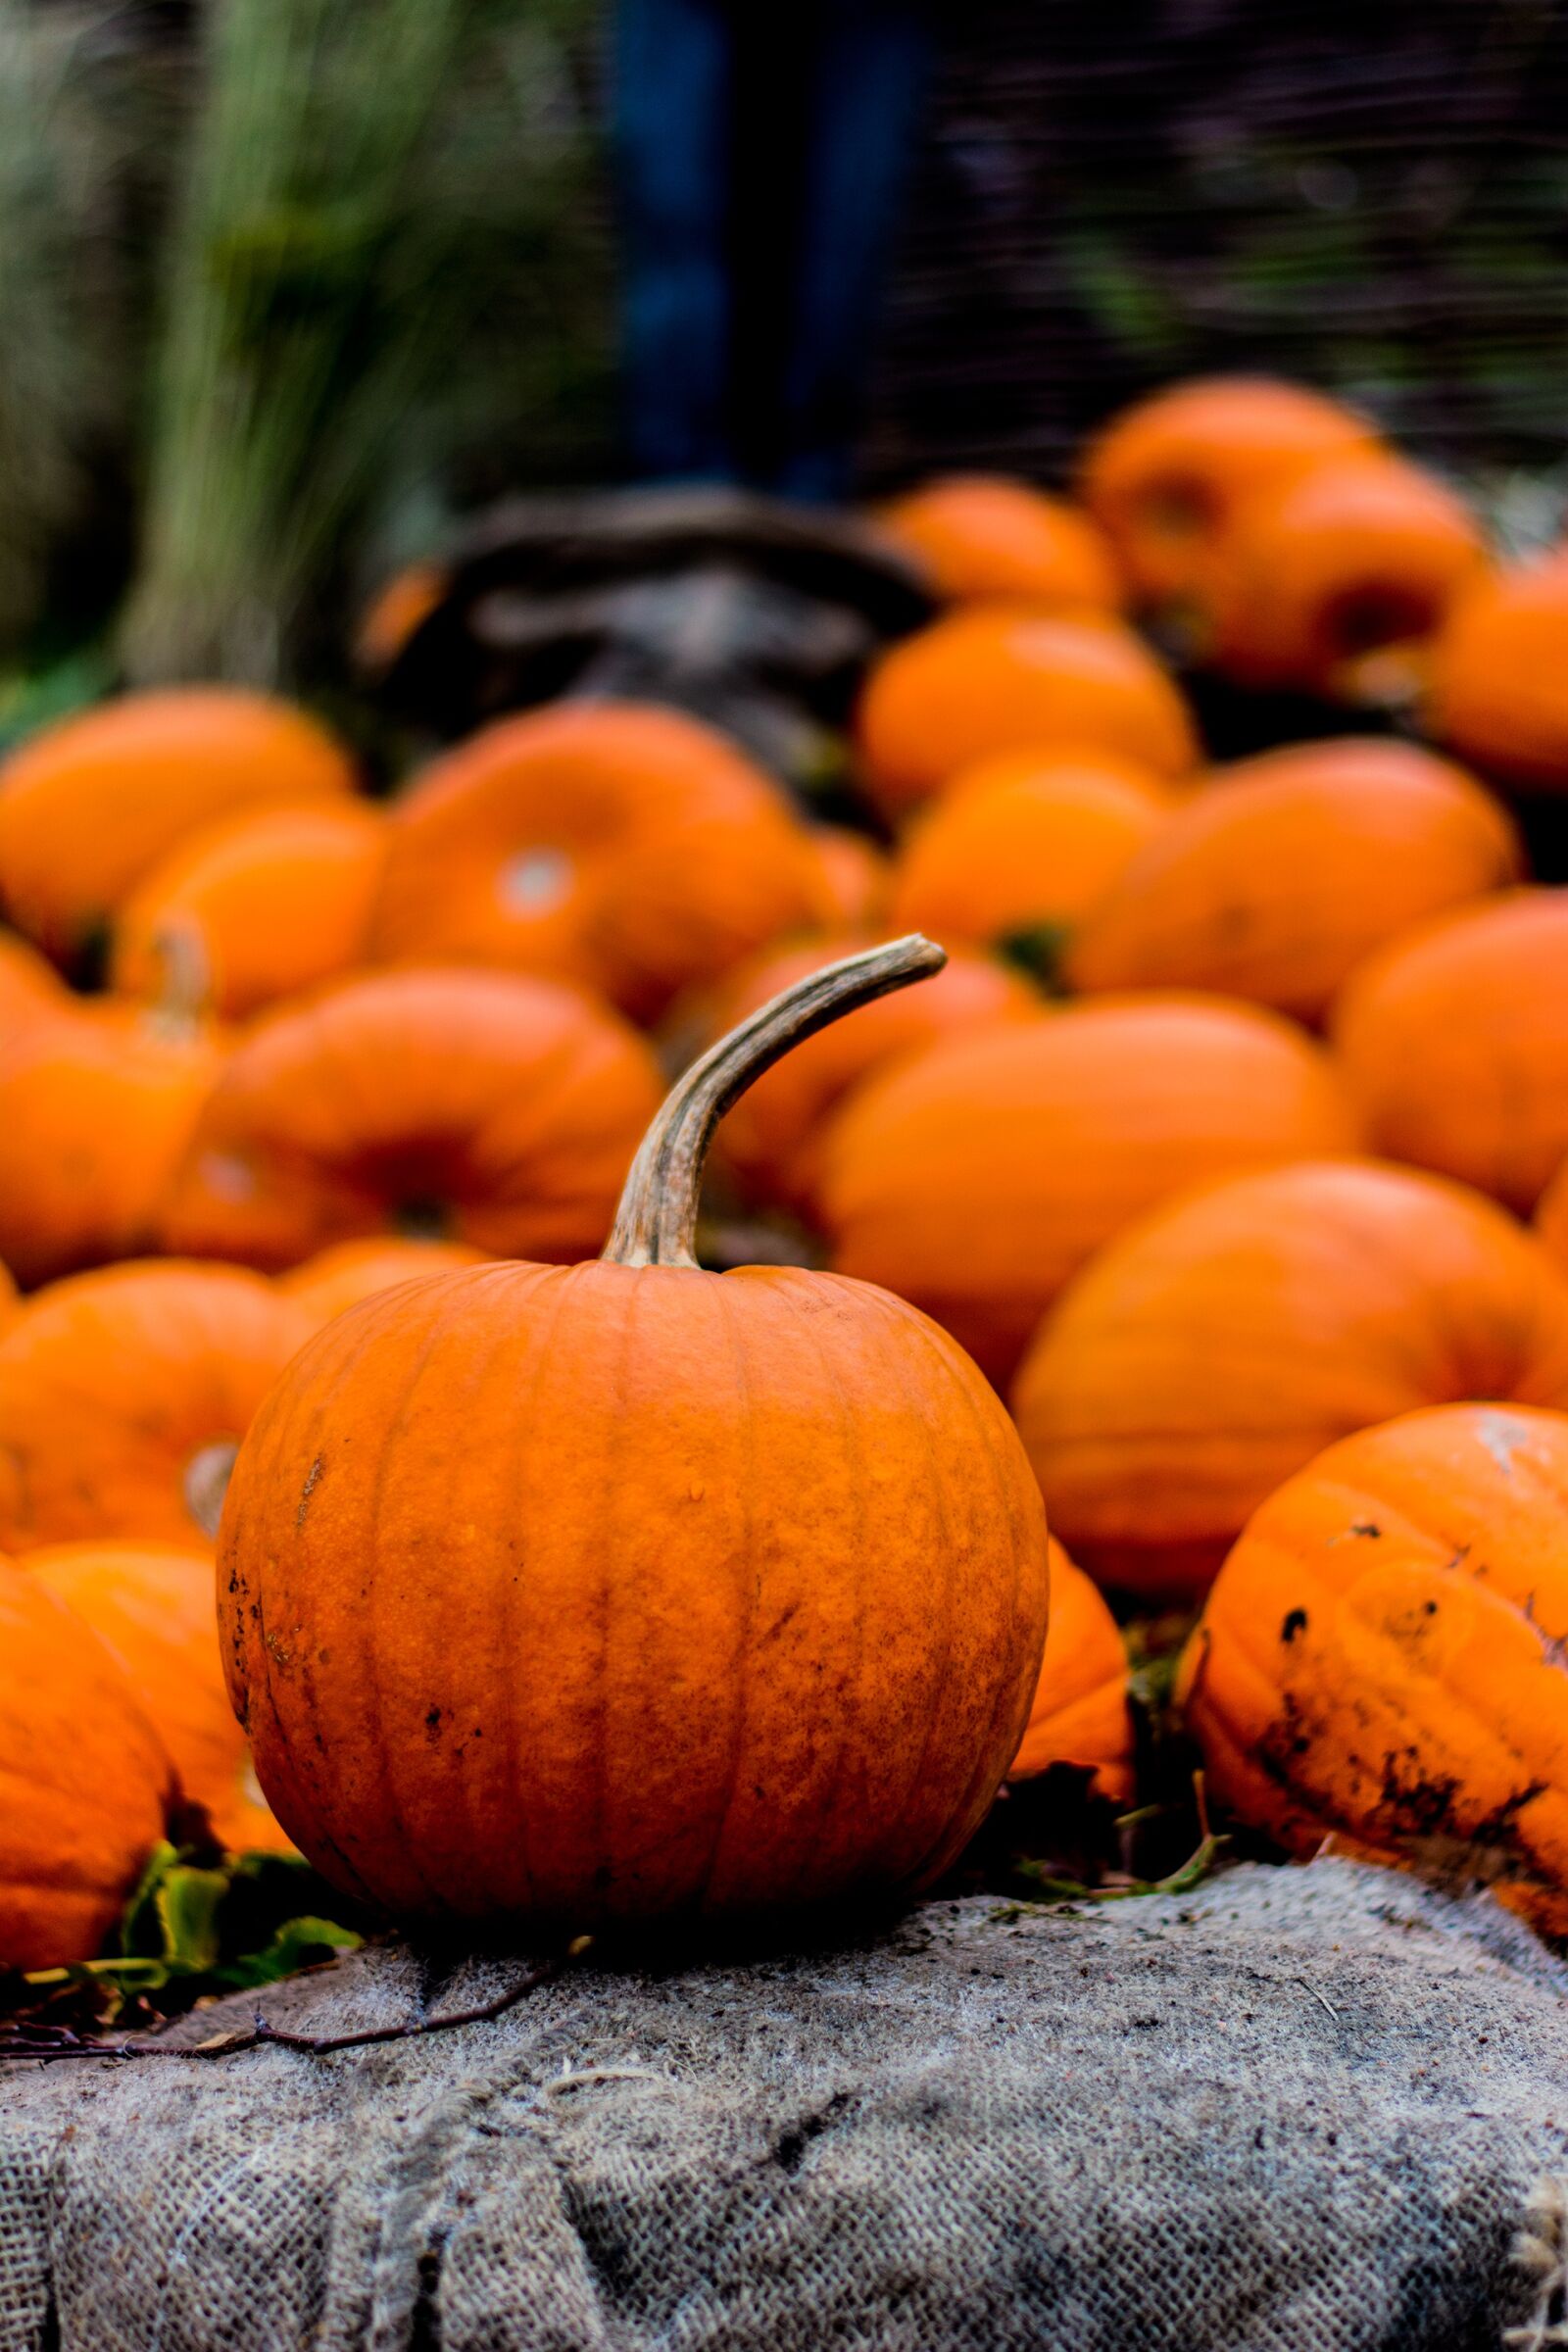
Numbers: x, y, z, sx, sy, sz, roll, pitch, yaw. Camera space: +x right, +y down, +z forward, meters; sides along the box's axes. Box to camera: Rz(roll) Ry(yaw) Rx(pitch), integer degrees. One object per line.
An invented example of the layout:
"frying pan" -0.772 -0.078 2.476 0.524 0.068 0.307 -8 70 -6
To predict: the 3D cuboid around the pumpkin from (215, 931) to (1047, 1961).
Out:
"pumpkin" -0.071 0.136 1.403 0.440 0.451 0.389 -5 -6 -4
